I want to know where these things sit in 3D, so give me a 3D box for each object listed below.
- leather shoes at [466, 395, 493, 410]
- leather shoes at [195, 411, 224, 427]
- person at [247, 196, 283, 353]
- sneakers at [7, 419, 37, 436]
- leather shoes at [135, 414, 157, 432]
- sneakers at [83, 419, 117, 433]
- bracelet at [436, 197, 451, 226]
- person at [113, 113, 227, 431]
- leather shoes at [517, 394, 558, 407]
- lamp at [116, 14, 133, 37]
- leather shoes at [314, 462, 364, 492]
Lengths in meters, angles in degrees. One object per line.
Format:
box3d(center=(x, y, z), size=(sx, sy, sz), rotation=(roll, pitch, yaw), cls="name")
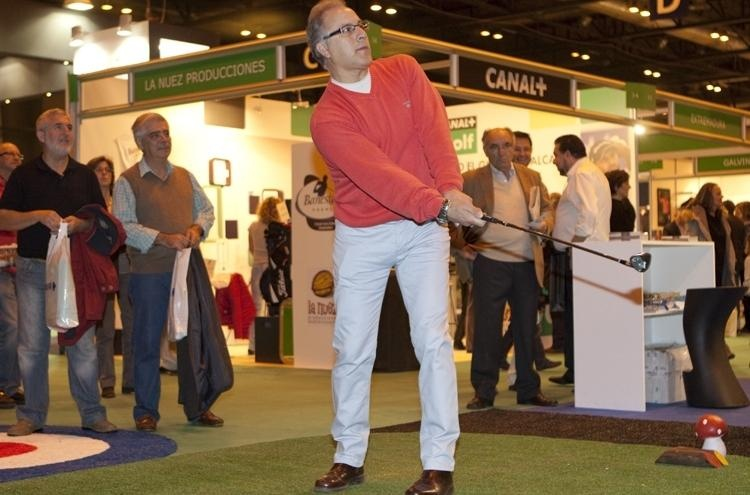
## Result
box3d(center=(0.914, 1.325, 6.798), size=(0.273, 0.127, 0.091), rotation=(11, -12, -38), cls="leather shoes")
box3d(center=(-1.332, 1.402, 6.460), size=(0.270, 0.132, 0.105), rotation=(-5, -7, 27), cls="leather shoes")
box3d(center=(-1.513, 0.377, 10.976), size=(0.430, 2.212, 1.589), rotation=(1, -1, -8), cls="person")
box3d(center=(-2.638, 1.354, 5.950), size=(0.095, 0.094, 0.193), rotation=(-1, -14, 41), cls="sneakers")
box3d(center=(-1.778, 1.379, 6.175), size=(0.083, 0.083, 0.179), rotation=(5, -10, -28), cls="leather shoes")
box3d(center=(-2.107, 1.360, 6.097), size=(0.251, 0.120, 0.110), rotation=(-3, -3, 19), cls="sneakers")
box3d(center=(0.374, -0.192, 4.271), size=(0.072, 0.122, 0.109), rotation=(9, 5, -28), cls="bracelet")
box3d(center=(-1.615, 0.207, 6.424), size=(0.834, 2.605, 0.746), rotation=(-1, 4, -8), cls="person")
box3d(center=(1.415, 1.335, 6.902), size=(0.362, 0.170, 0.132), rotation=(-3, -4, 13), cls="leather shoes")
box3d(center=(-3.442, -3.067, 10.806), size=(0.262, 0.302, 0.260), rotation=(4, 1, 3), cls="lamp")
box3d(center=(-0.201, 1.364, 4.743), size=(0.293, 0.156, 0.125), rotation=(5, -6, -37), cls="leather shoes")
